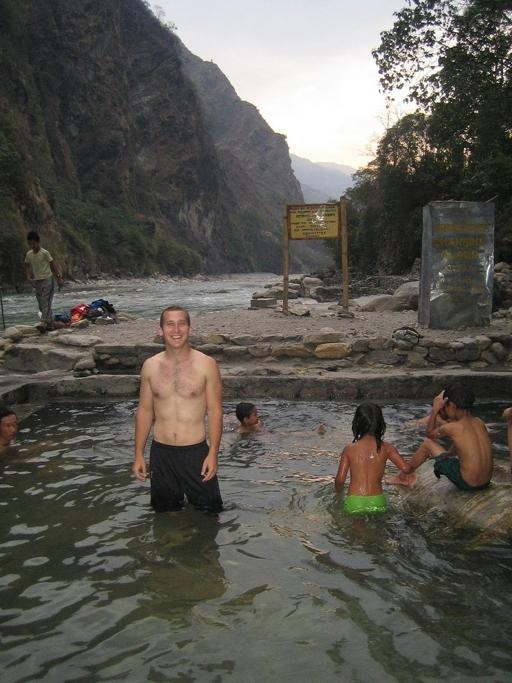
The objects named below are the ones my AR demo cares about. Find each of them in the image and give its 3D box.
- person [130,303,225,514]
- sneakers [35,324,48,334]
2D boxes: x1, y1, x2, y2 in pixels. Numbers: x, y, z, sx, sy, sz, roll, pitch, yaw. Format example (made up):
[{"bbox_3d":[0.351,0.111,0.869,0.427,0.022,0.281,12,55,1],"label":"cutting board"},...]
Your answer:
[{"bbox_3d":[-0.465,0.442,3.416,0.523,1.300,0.337,-2,7,-9],"label":"person"},{"bbox_3d":[-3.663,-0.222,9.861,0.148,0.064,0.188,8,9,2],"label":"sneakers"}]
